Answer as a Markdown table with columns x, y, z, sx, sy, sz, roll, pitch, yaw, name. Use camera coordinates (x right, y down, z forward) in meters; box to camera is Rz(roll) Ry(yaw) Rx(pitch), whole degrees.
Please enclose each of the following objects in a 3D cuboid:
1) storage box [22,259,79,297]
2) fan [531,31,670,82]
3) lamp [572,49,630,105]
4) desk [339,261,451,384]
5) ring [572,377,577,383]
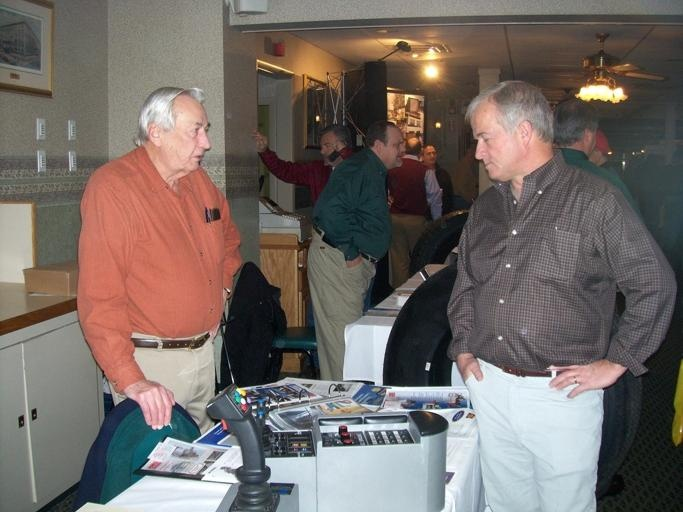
| x | y | z | sx | sy | sz | roll | pitch | yaw | name |
| --- | --- | --- | --- | --- | --- | --- | --- | --- | --- |
| -1.516 | 0.132 | 2.981 | 0.237 | 0.112 | 0.239 | 2 | 7 | 0 | storage box |
| 3.021 | -2.264 | 6.896 | 1.092 | 0.384 | 1.122 | 11 | 20 | 35 | fan |
| 3.377 | -2.425 | 7.489 | 0.682 | 0.726 | 0.662 | -1 | 17 | 14 | lamp |
| 0.244 | 0.356 | 3.276 | 0.406 | 0.527 | 1.036 | 0 | 6 | 7 | desk |
| 0.756 | 0.402 | 1.860 | 0.003 | 0.013 | 0.013 | -20 | 13 | -42 | ring |
